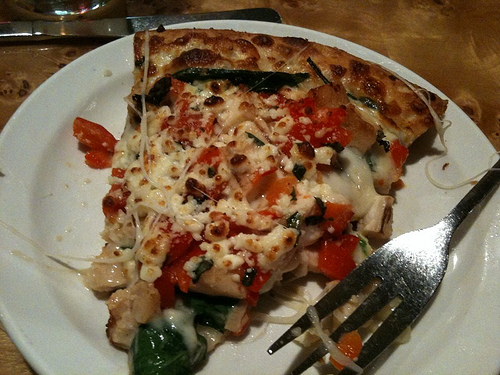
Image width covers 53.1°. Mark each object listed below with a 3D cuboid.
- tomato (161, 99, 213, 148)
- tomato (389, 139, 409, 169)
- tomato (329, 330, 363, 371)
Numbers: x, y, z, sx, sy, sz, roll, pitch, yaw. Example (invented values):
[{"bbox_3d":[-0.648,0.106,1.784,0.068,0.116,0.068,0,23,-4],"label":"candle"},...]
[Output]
[{"bbox_3d":[-0.406,-0.425,3.403,0.315,0.089,0.307,-40,71,-15],"label":"tomato"},{"bbox_3d":[1.088,-0.249,3.654,0.195,0.050,0.184,4,82,-18],"label":"tomato"},{"bbox_3d":[0.617,0.974,3.090,0.152,0.059,0.164,-15,83,-4],"label":"tomato"}]
